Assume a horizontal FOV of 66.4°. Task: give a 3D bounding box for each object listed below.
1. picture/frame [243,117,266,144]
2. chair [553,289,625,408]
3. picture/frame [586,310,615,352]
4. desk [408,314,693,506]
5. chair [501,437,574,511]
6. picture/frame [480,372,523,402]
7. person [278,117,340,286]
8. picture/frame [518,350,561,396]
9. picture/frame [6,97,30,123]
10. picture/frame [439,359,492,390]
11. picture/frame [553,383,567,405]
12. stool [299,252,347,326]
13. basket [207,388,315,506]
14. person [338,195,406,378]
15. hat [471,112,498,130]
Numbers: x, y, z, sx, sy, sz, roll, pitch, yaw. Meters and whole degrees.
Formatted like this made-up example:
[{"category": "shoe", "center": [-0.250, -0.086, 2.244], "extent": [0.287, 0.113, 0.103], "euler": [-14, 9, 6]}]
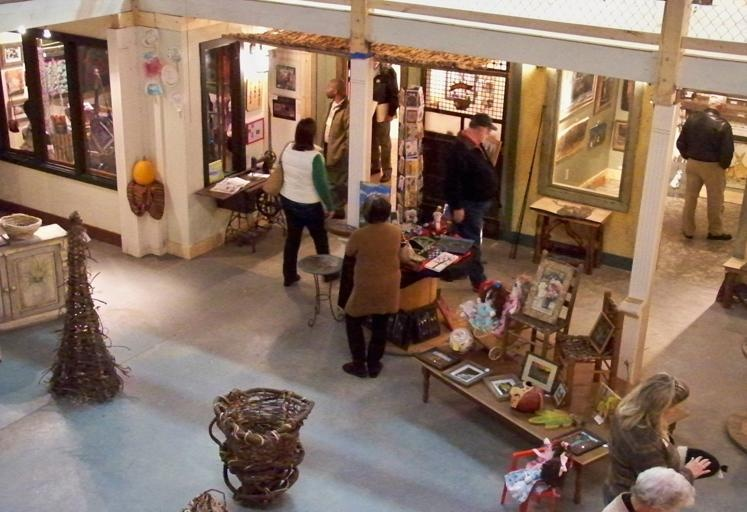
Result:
[{"category": "picture/frame", "center": [-2.069, -2.191, 9.851], "extent": [0.074, 0.331, 0.513], "euler": [11, 24, 23]}, {"category": "chair", "center": [2.432, 1.092, 6.471], "extent": [0.711, 1.219, 0.772], "euler": [0, 34, 2]}, {"category": "picture/frame", "center": [2.607, 0.882, 6.549], "extent": [0.030, 0.392, 0.352], "euler": [3, 34, -21]}, {"category": "desk", "center": [1.740, 1.512, 6.629], "extent": [1.875, 0.589, 2.647], "euler": [-20, 34, -32]}, {"category": "chair", "center": [1.468, 2.021, 5.175], "extent": [0.543, 0.758, 0.462], "euler": [10, 22, 20]}, {"category": "picture/frame", "center": [1.395, 1.369, 6.043], "extent": [0.391, 0.154, 0.427], "euler": [1, 19, -3]}, {"category": "person", "center": [-0.974, -0.718, 8.263], "extent": [0.736, 2.495, 0.504], "euler": [0, 22, -8]}, {"category": "picture/frame", "center": [1.799, 1.269, 6.162], "extent": [0.406, 0.310, 0.227], "euler": [13, 23, 28]}, {"category": "picture/frame", "center": [-5.961, -2.491, 9.710], "extent": [0.104, 0.351, 0.416], "euler": [-3, -1, -45]}, {"category": "picture/frame", "center": [1.030, 1.293, 6.274], "extent": [0.437, 0.088, 0.339], "euler": [-12, 23, -36]}, {"category": "picture/frame", "center": [1.948, 1.451, 5.936], "extent": [0.128, 0.218, 0.153], "euler": [7, 21, 11]}, {"category": "stool", "center": [-0.691, 0.494, 7.910], "extent": [0.754, 0.742, 0.727], "euler": [15, 32, 25]}, {"category": "basket", "center": [-1.005, 1.798, 5.278], "extent": [0.882, 0.959, 0.701], "euler": [0, 21, -7]}, {"category": "person", "center": [0.035, 0.377, 6.665], "extent": [0.624, 2.254, 0.690], "euler": [15, 24, 28]}, {"category": "hat", "center": [1.545, -1.888, 7.983], "extent": [0.331, 0.144, 0.221], "euler": [-6, 24, -14]}]
